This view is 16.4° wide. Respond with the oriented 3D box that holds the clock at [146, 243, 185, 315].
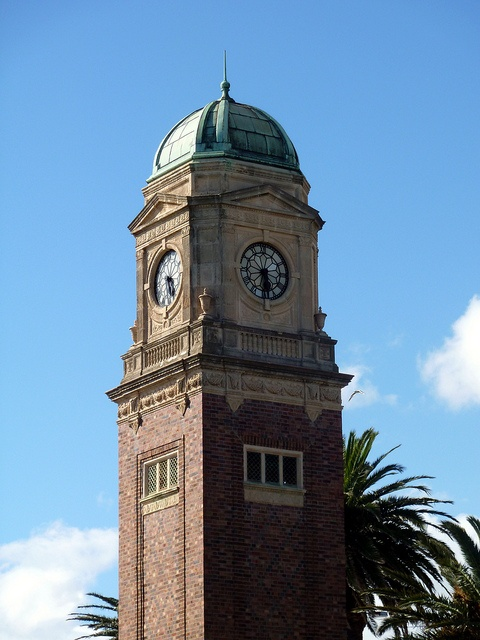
[{"bbox_3d":[-2.245,-1.179,50.572,0.191,1.990,1.434,13,-26,-26],"label":"clock"}]
